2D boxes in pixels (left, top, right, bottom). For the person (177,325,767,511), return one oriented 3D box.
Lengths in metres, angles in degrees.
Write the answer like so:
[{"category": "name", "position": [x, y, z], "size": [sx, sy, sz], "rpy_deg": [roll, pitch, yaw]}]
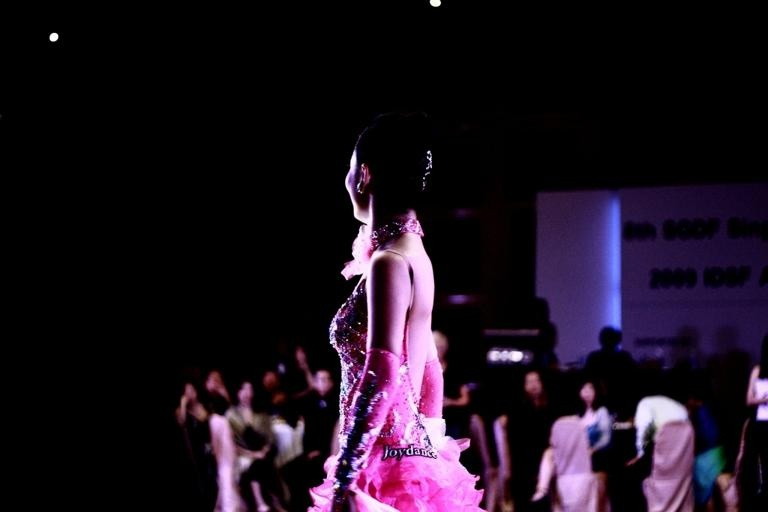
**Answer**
[{"category": "person", "position": [-0.205, 1.321, 5.334], "size": [2.297, 1.277, 0.570], "rpy_deg": [-1, -18, 3]}]
